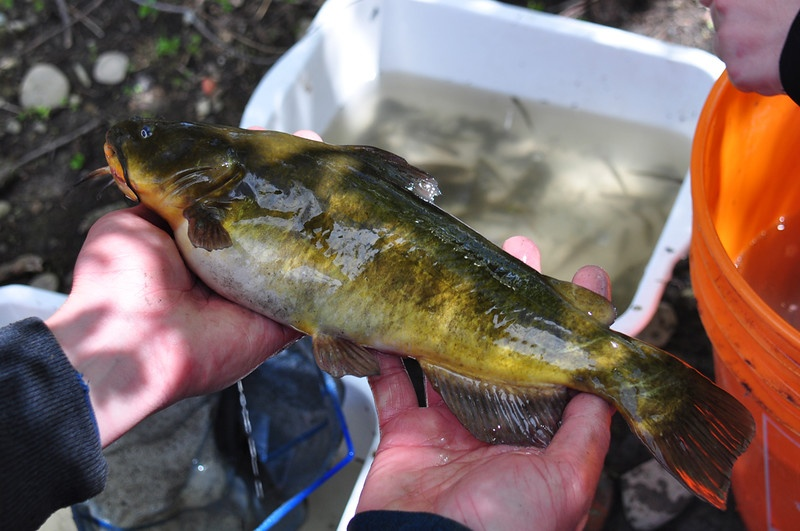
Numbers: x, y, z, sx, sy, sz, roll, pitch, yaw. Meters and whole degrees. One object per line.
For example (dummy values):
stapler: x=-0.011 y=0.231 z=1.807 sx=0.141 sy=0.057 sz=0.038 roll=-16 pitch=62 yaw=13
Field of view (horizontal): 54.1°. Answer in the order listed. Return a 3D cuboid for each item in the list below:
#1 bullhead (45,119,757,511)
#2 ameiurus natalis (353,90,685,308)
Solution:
bullhead: x=0.040 y=0.302 z=3.728 sx=2.802 sy=0.596 sz=1.115 roll=27 pitch=110 yaw=9
ameiurus natalis: x=0.780 y=-0.558 z=4.731 sx=1.647 sy=0.598 sz=1.346 roll=21 pitch=72 yaw=5
